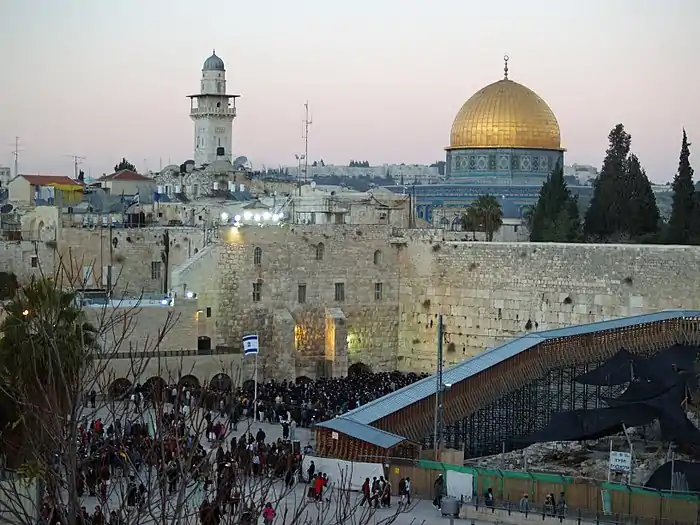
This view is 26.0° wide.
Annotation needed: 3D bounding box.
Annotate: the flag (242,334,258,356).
[{"bbox_3d":[-3.549,2.945,53.526,0.784,1.032,0.074,2,10,-1],"label":"flag"}]
